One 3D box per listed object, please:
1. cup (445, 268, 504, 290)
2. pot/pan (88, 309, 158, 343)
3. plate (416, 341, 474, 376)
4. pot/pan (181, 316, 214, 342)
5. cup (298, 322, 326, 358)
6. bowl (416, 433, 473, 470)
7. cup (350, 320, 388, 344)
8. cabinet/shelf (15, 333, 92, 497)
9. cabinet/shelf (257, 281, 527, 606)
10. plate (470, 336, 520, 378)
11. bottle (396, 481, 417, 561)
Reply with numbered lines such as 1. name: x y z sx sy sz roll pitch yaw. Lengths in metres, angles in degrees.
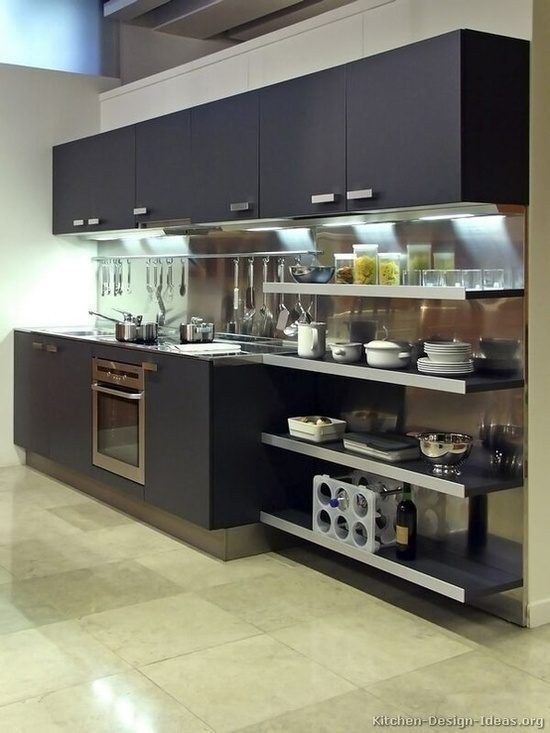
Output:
1. cup: 0.651 -0.288 1.919 0.174 0.085 0.122 -2 -4 33
2. pot/pan: -0.924 -0.210 3.690 0.265 0.262 0.668 0 3 -41
3. plate: 0.557 -0.034 1.911 0.124 0.060 0.125 0 6 2
4. pot/pan: -0.421 -0.197 3.219 0.124 0.107 0.168 1 0 -8
5. cup: 0.149 -0.110 2.523 0.098 0.128 0.149 1 6 2
6. bowl: 0.571 0.275 1.945 0.127 0.074 0.126 1 8 0
7. cup: 0.390 -0.139 2.482 0.114 0.082 0.093 -1 -2 44
8. cabinet/shelf: -1.407 0.303 3.795 0.370 0.850 0.969 0 3 -38
9. cabinet/shelf: 0.614 0.253 2.348 0.306 0.962 0.997 -14 31 -6
10. plate: 0.698 -0.024 1.915 0.061 0.121 0.188 2 -4 -30
11. bottle: 0.467 0.550 2.127 0.070 0.259 0.138 0 -3 11
